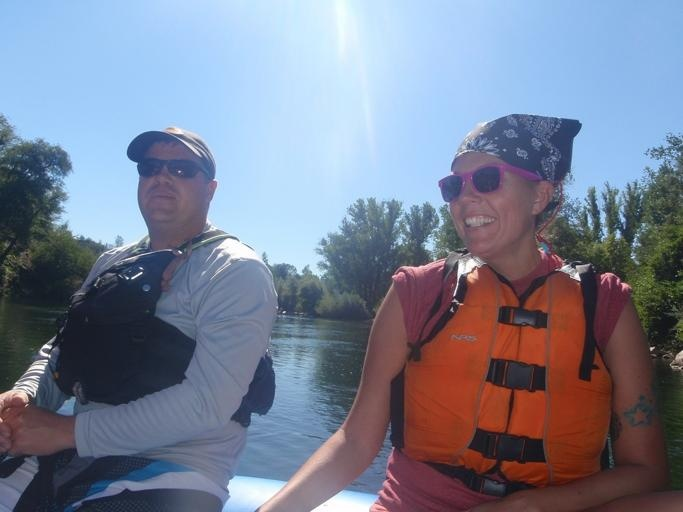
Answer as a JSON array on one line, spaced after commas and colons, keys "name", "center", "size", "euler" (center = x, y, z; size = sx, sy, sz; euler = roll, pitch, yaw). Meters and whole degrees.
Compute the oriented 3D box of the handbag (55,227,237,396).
[{"name": "handbag", "center": [-1.314, 0.539, 3.336], "size": [0.852, 0.974, 0.718], "euler": [4, -20, -10]}]
